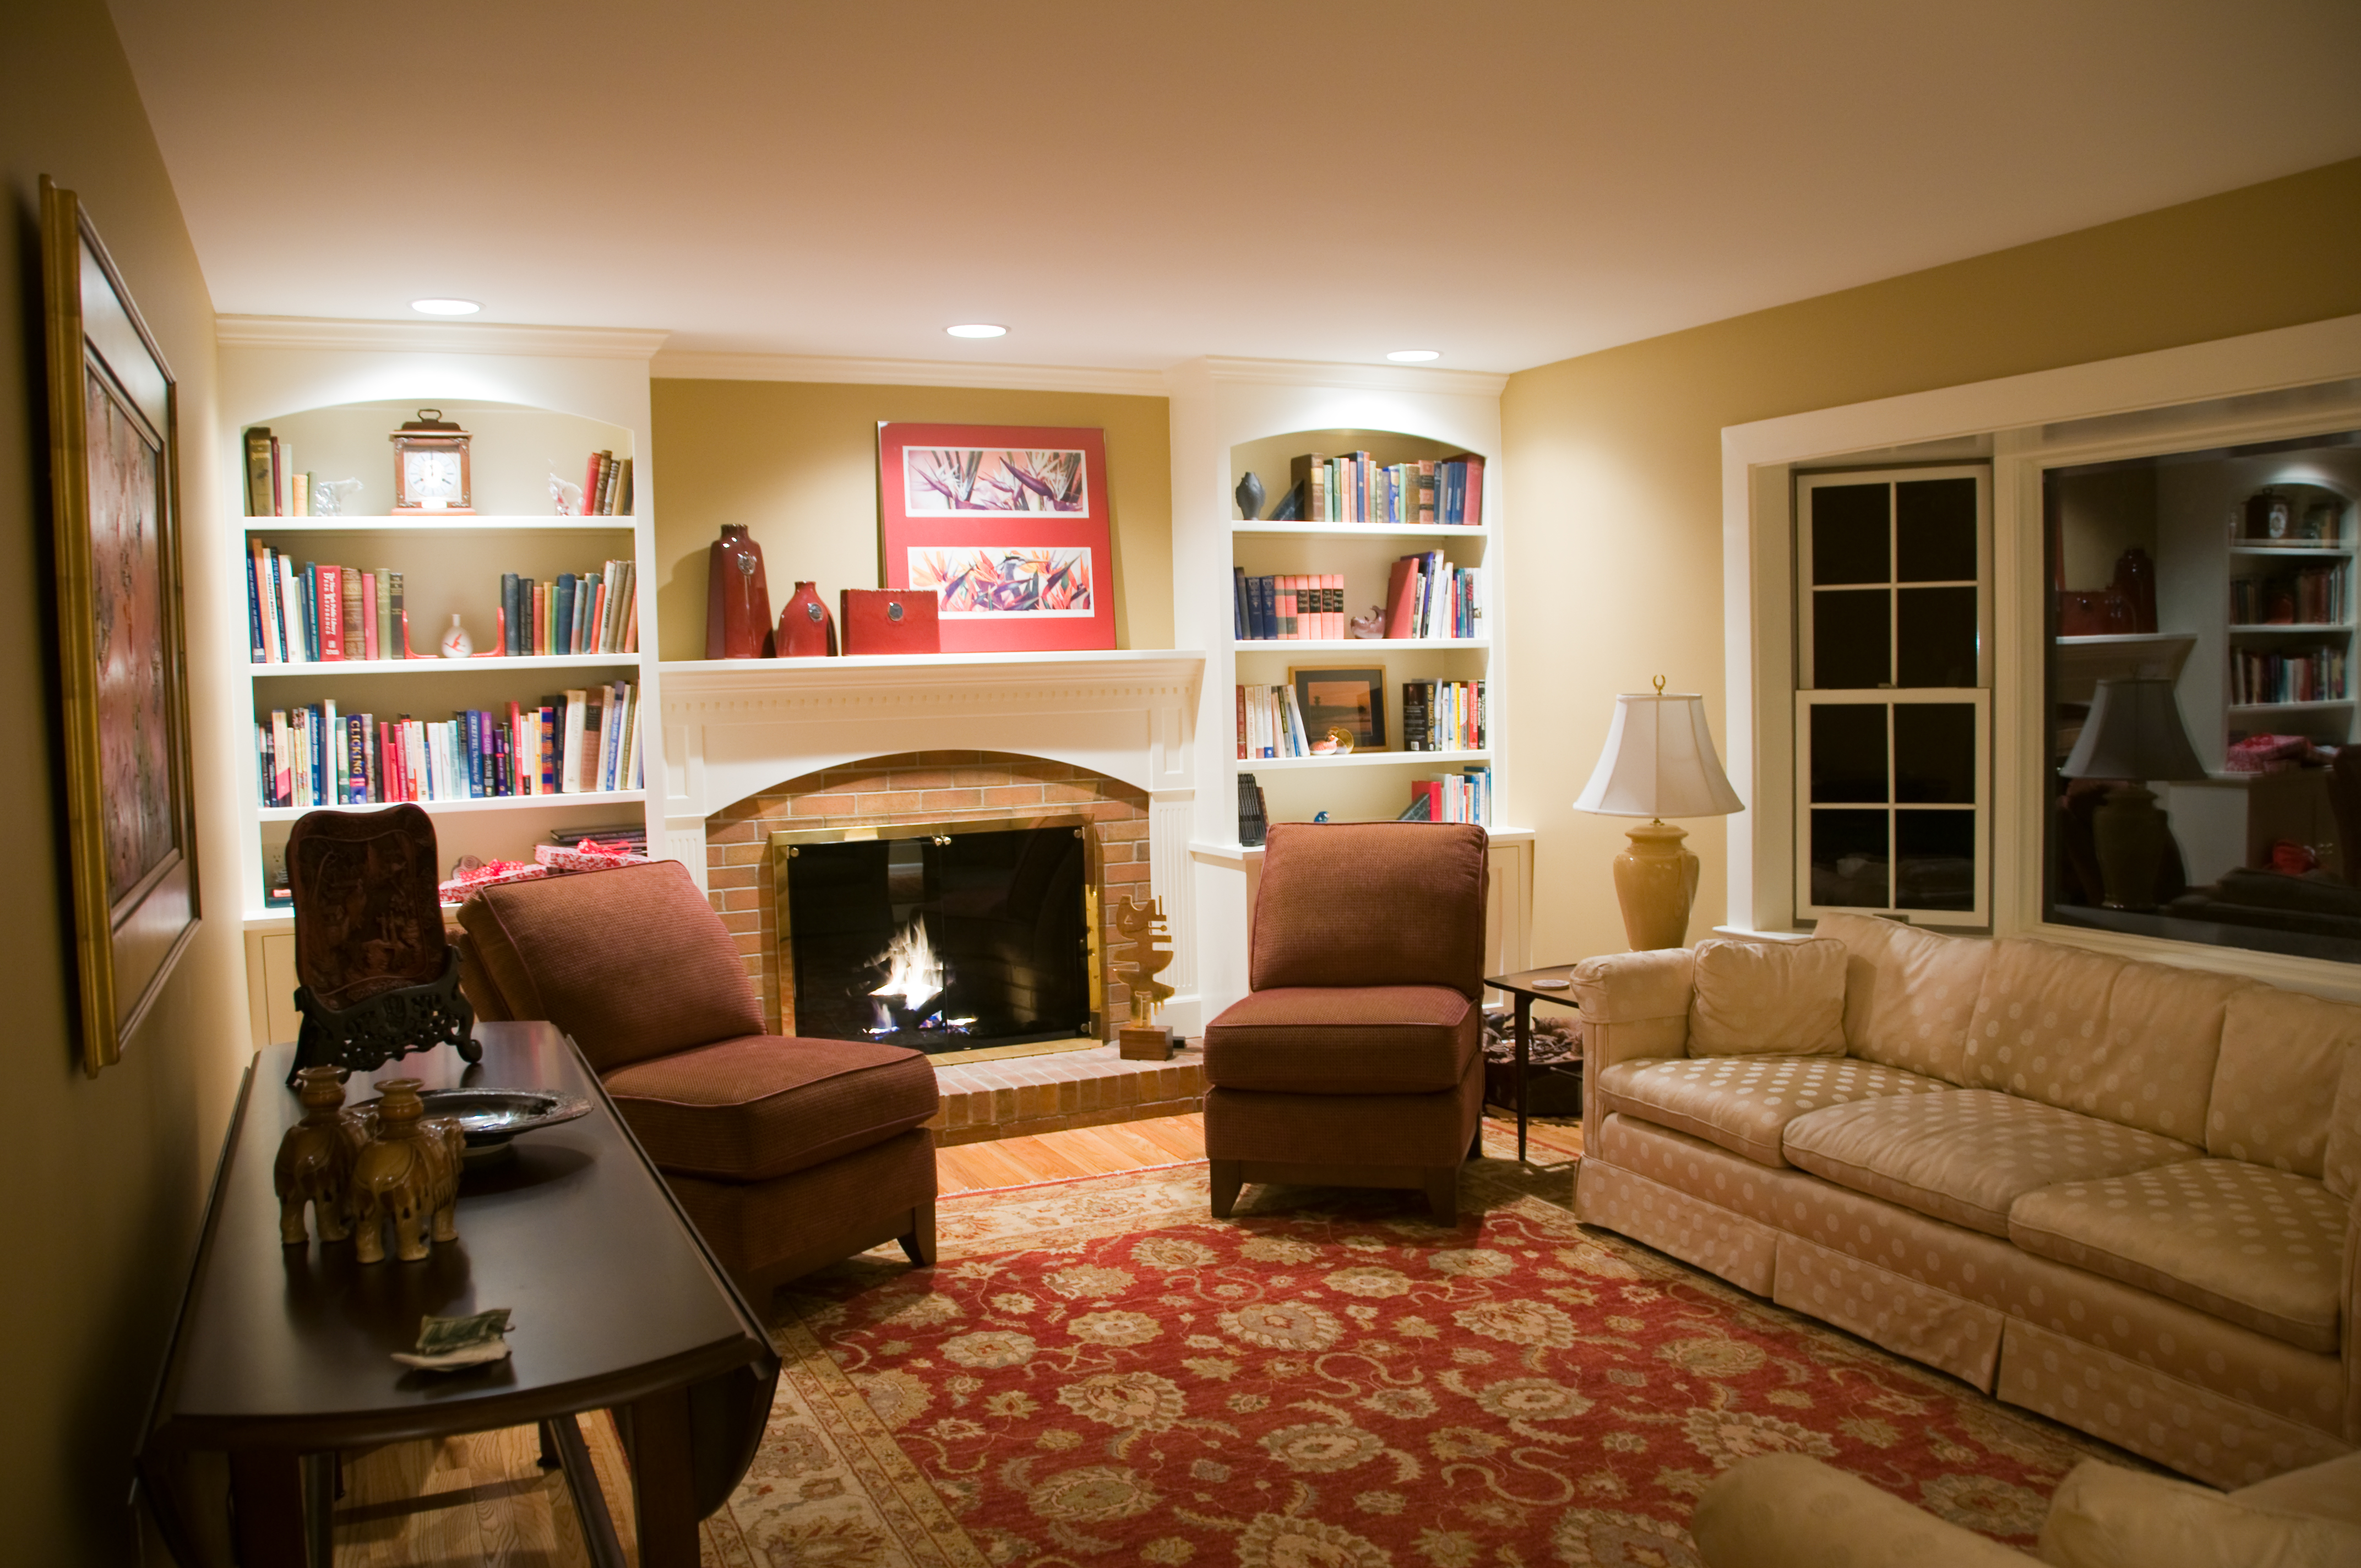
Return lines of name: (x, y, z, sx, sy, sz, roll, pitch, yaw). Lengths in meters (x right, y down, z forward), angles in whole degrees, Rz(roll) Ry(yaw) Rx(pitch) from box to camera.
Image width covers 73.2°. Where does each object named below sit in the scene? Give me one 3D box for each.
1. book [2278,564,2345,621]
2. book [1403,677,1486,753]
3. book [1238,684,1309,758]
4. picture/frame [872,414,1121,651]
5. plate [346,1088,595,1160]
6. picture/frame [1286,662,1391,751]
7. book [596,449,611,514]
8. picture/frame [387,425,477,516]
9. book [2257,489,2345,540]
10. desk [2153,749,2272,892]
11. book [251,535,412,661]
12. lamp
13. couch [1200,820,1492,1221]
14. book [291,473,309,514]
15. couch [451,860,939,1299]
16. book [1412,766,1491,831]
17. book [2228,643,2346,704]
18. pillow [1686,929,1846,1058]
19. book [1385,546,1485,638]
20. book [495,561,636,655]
book: (3.336, -0.559, 4.648, 0.130, 0.165, 0.174, 0, 5, -1)
book: (1.160, -0.302, 7.015, 0.284, 0.357, 0.378, -1, 3, -7)
book: (0.347, -0.250, 6.806, 0.288, 0.375, 0.389, -1, -1, -15)
picture/frame: (-0.808, -1.044, 6.492, 1.034, 0.962, 0.034, -2, 4, -15)
plate: (-1.403, 0.672, 3.136, 0.216, 0.043, 0.219, 6, 4, 42)
picture/frame: (0.669, -0.343, 6.962, 0.395, 0.317, 0.029, -4, 1, -19)
book: (-2.114, -1.103, 5.780, 0.036, 0.146, 0.143, 1, 11, -12)
picture/frame: (-2.635, -1.111, 5.564, 0.246, 0.323, 0.129, -6, 9, -23)
book: (3.287, -0.794, 4.665, 0.016, 0.158, 0.256, -6, 9, -23)
desk: (3.185, 0.144, 4.913, 0.311, 0.455, 0.303, -3, 1, -28)
book: (-2.940, -0.574, 5.569, 0.550, 0.504, 0.401, -1, 2, -25)
lamp: (1.703, 0.110, 5.630, 0.508, 0.959, 0.705, 1, 9, 19)
couch: (0.588, 0.703, 5.511, 1.021, 1.339, 1.224, 0, 3, 13)
book: (-3.053, -1.004, 5.479, 0.074, 0.136, 0.057, -7, 10, -28)
couch: (-1.406, 0.828, 5.053, 1.481, 1.342, 1.034, 5, 6, 28)
book: (1.203, 0.064, 7.001, 0.332, 0.241, 0.340, 2, 2, -17)
book: (3.306, -0.326, 4.726, 0.026, 0.186, 0.307, -8, 10, -35)
pillow: (1.837, 0.660, 5.053, 0.389, 0.365, 0.130, 4, 1, 3)
book: (1.127, -0.803, 6.967, 0.351, 0.460, 0.466, 0, 7, -15)
book: (-2.233, -0.617, 5.777, 0.488, 0.453, 0.348, -1, 2, -22)
